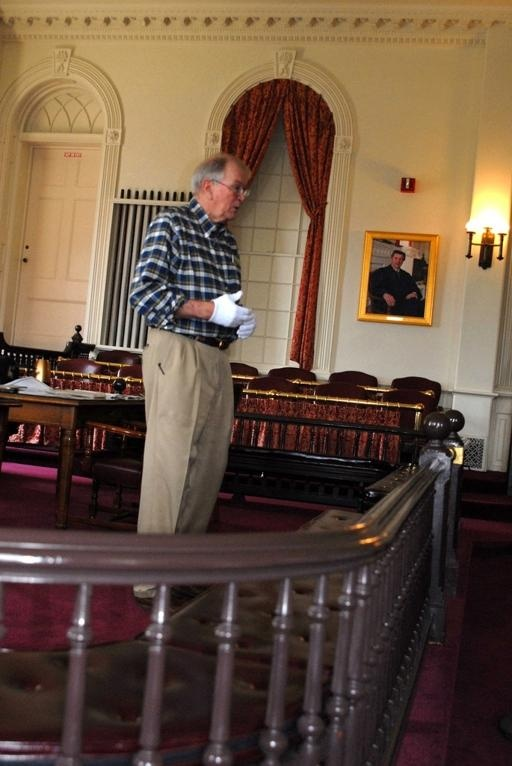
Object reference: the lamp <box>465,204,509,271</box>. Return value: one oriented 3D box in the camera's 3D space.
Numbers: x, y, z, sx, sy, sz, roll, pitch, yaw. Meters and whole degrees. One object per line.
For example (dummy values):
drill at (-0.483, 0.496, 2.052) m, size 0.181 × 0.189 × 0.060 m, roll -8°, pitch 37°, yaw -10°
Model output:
lamp at (2.582, -1.617, 7.171) m, size 0.466 × 0.631 × 0.247 m, roll 9°, pitch 4°, yaw 13°

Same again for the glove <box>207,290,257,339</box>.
glove at (-0.087, -0.240, 2.219) m, size 0.100 × 0.132 × 0.186 m, roll -39°, pitch 33°, yaw -24°

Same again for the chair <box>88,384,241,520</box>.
chair at (-0.624, 0.412, 3.412) m, size 0.511 × 0.640 × 0.440 m, roll 4°, pitch -5°, yaw 24°

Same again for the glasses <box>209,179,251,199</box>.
glasses at (-0.094, -0.701, 2.265) m, size 0.087 × 0.024 × 0.082 m, roll 26°, pitch 14°, yaw 20°
